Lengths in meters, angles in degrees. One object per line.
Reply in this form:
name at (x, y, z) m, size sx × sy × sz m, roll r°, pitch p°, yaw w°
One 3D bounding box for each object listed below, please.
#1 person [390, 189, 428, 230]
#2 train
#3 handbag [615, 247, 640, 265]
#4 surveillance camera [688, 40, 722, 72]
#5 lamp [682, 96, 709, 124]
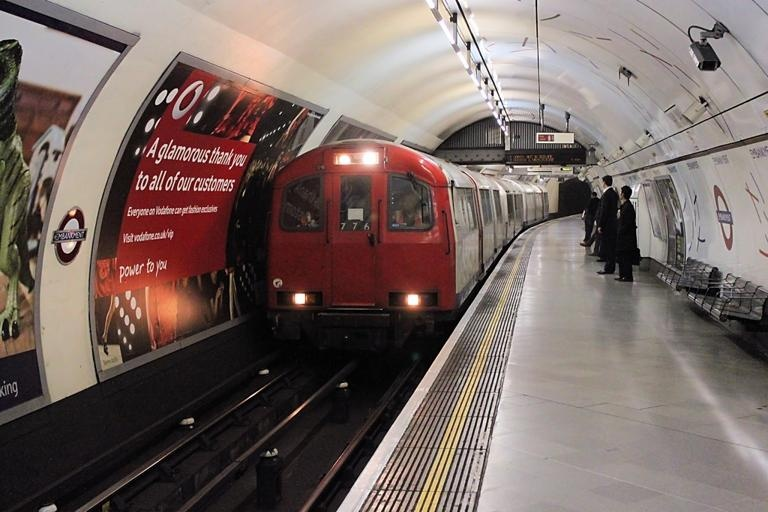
person at (0.497, -0.947, 7.988) m, size 0.818 × 0.866 × 0.445 m, roll 1°, pitch -17°, yaw -3°
train at (0.702, -0.354, 9.065) m, size 2.650 × 3.718 × 5.849 m, roll 5°, pitch 9°, yaw 42°
handbag at (5.980, -0.001, 10.563) m, size 0.435 × 0.344 × 0.447 m, roll 3°, pitch 7°, yaw 35°
surveillance camera at (4.270, -2.640, 5.793) m, size 0.322 × 0.384 × 0.284 m, roll 4°, pitch 8°, yaw 33°
lamp at (5.391, -2.493, 7.500) m, size 0.390 × 0.390 × 0.236 m, roll 18°, pitch 32°, yaw -38°
